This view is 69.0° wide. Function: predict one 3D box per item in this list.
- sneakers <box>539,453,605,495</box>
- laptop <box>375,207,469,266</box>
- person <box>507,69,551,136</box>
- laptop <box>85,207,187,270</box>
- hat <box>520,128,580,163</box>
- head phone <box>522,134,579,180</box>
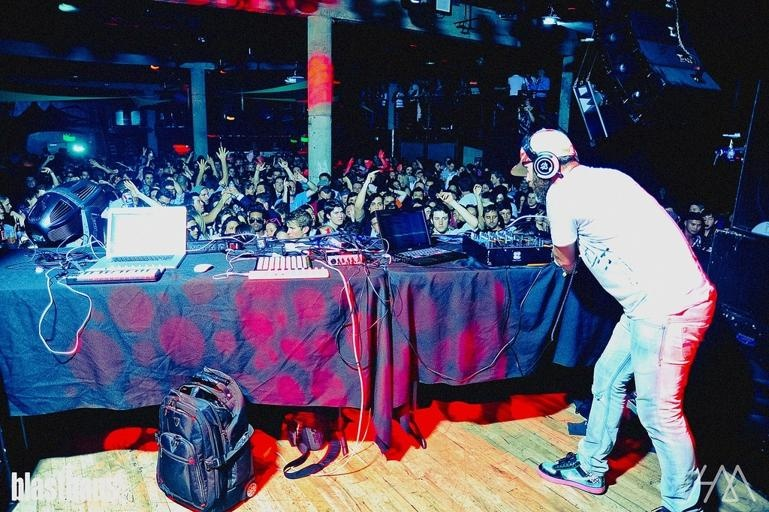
[{"bbox_3d":[1.197,1.399,3.690,0.487,0.220,0.176,12,-1,19],"label":"sneakers"},{"bbox_3d":[0.237,-0.245,3.921,0.500,0.299,0.468,-11,25,-35],"label":"laptop"},{"bbox_3d":[3.090,-3.240,11.732,0.642,1.340,1.493,0,9,8],"label":"person"},{"bbox_3d":[-1.620,-0.139,3.799,0.579,0.378,0.415,0,7,-7],"label":"laptop"},{"bbox_3d":[0.992,-0.656,3.414,0.266,0.228,0.201,37,27,30],"label":"hat"},{"bbox_3d":[1.019,-0.629,3.476,0.338,0.286,0.311,0,11,24],"label":"head phone"}]
